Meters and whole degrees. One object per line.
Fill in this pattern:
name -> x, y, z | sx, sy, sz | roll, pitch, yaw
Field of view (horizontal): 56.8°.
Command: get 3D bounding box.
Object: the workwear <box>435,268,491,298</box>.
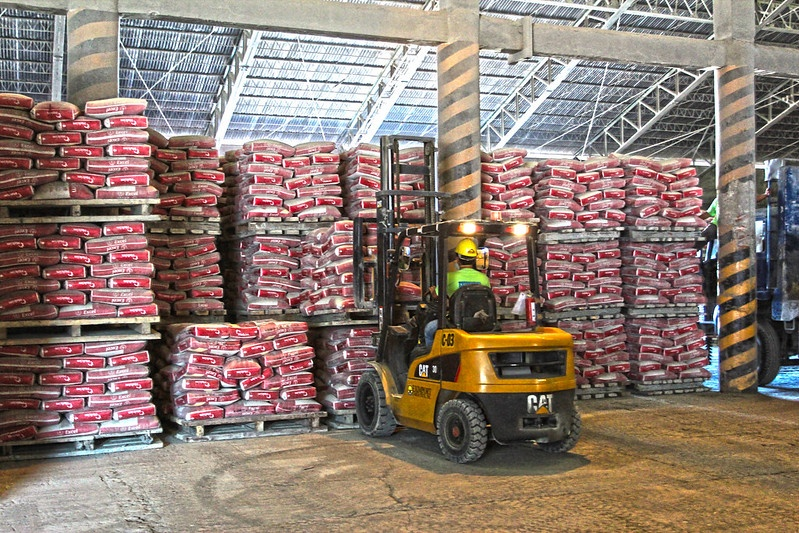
workwear -> 0.942, 0.218, 10.138 | 0.605, 0.373, 0.439 | 0, 6, 1

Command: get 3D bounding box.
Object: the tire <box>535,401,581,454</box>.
tire -> 2.253, 2.285, 10.248 | 0.528, 0.655, 0.368 | 0, 7, 7

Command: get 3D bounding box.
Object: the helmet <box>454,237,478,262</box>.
helmet -> 0.941, -0.255, 10.347 | 0.388, 0.173, 0.353 | 2, 11, -3

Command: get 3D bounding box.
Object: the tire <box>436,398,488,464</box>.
tire -> 0.858, 2.197, 9.903 | 0.331, 0.886, 0.720 | -6, 9, -34
